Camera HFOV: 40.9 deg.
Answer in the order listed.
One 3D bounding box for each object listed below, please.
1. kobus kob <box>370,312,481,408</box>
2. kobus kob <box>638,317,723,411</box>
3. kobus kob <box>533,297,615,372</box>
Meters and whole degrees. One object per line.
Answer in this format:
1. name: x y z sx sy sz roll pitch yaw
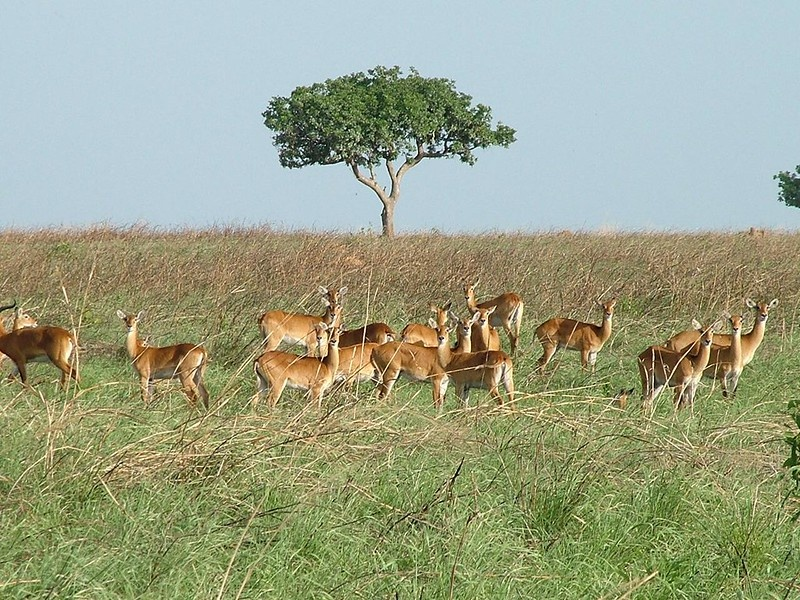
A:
1. kobus kob: 0.232 0.662 11.873 0.766 1.144 0.834 1 8 29
2. kobus kob: 3.075 0.674 11.933 0.669 1.200 0.738 0 5 23
3. kobus kob: 2.233 0.570 13.575 0.765 1.100 0.831 -1 7 10
